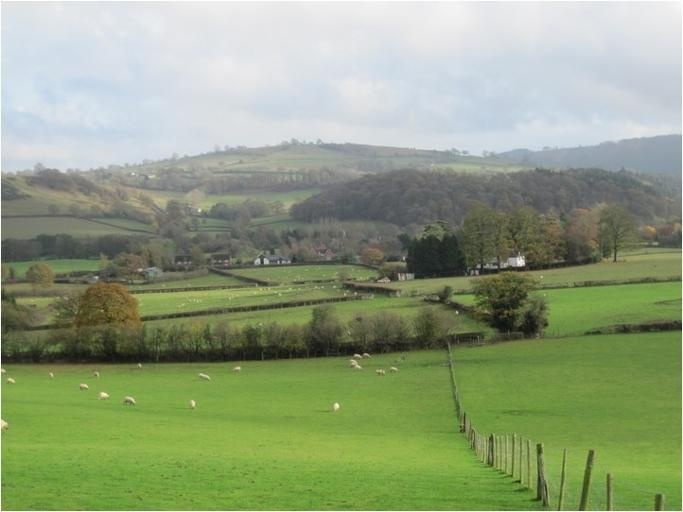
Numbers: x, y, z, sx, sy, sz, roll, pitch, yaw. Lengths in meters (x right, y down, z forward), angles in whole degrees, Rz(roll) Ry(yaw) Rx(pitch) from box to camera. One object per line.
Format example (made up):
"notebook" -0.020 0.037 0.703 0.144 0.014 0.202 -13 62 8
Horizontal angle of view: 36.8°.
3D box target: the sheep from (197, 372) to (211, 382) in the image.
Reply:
"sheep" -18.443 16.360 138.116 2.468 1.316 0.782 5 -13 8

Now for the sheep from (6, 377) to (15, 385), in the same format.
"sheep" -42.216 16.074 131.385 1.656 0.976 0.548 0 0 45

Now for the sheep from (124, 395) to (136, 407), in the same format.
"sheep" -25.409 17.390 123.058 2.056 1.275 0.652 4 5 31

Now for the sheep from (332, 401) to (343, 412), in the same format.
"sheep" -0.535 18.302 124.199 0.715 0.967 2.314 -2 -2 -1

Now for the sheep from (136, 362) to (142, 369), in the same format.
"sheep" -28.781 15.755 146.379 0.445 0.829 1.617 -2 -7 -12

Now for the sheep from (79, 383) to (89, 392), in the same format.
"sheep" -32.487 16.599 129.715 1.148 0.739 2.297 0 -3 -15
